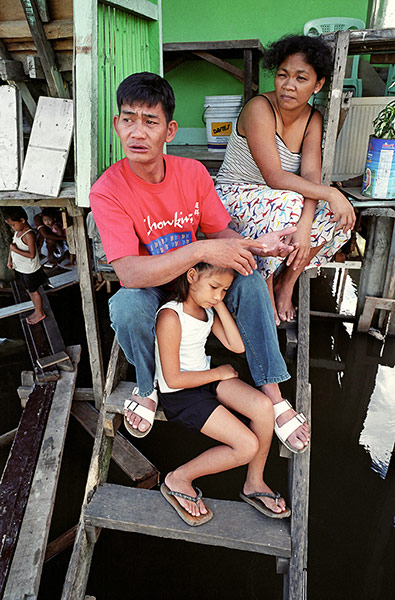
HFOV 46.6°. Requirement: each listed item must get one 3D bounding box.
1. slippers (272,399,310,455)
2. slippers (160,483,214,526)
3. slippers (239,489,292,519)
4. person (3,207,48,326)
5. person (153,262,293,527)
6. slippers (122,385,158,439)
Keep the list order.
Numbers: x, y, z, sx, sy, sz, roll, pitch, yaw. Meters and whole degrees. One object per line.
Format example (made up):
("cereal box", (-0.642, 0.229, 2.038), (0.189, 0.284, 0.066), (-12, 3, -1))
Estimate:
("slippers", (0.355, 0.496, 1.816), (0.108, 0.069, 0.208), (-27, 68, -10))
("slippers", (-0.044, 0.740, 1.679), (0.091, 0.050, 0.166), (-20, 44, -41))
("slippers", (0.262, 0.733, 1.674), (0.149, 0.046, 0.081), (18, 18, 38))
("person", (-1.456, -0.341, 3.841), (0.294, 0.883, 0.850), (-11, 31, -18))
("person", (0.057, 0.298, 1.766), (0.455, 0.782, 0.756), (-4, 29, -6))
("slippers", (-0.229, 0.452, 1.853), (0.106, 0.058, 0.228), (2, 42, 13))
